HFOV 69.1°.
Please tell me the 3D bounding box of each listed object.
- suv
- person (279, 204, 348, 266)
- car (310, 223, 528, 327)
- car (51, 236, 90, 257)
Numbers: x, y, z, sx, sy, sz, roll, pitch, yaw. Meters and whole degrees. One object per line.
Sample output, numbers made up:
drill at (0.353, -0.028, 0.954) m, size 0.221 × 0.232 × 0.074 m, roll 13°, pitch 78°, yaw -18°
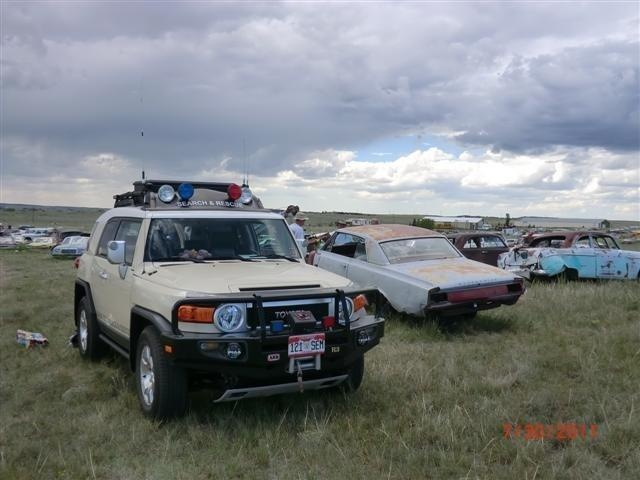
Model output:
suv at (-1.499, 0.550, 6.239) m, size 2.267 × 2.147 × 4.320 m, roll 1°, pitch 1°, yaw -39°
person at (-0.525, -0.135, 11.937) m, size 1.304 × 0.949 × 2.054 m, roll -3°, pitch 16°, yaw -28°
car at (1.473, 0.503, 8.940) m, size 1.762 × 1.007 × 3.423 m, roll -3°, pitch 10°, yaw -35°
car at (-12.423, 0.327, 23.130) m, size 1.314 × 0.723 × 2.479 m, roll -3°, pitch 0°, yaw -12°
